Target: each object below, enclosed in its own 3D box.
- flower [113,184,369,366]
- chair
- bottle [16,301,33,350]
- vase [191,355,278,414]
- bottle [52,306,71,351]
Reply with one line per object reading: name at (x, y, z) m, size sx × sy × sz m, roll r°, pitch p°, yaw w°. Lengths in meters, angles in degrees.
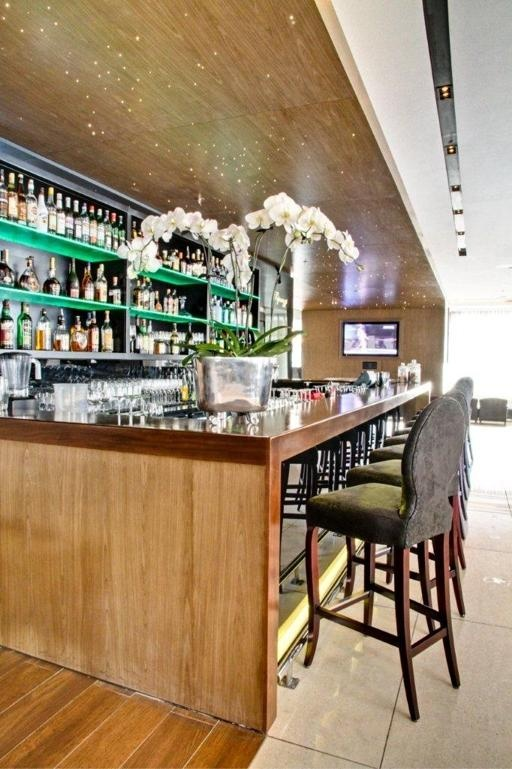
flower at (0.050, -0.390, 1.891) m, size 0.641 × 0.418 × 0.662 m, roll 0°, pitch 28°, yaw 8°
chair at (0.447, 0.522, 1.911) m, size 0.554 × 0.988 × 0.747 m, roll 2°, pitch 1°, yaw 22°
bottle at (-1.360, -0.341, 3.099) m, size 0.069 × 0.280 × 0.235 m, roll 1°, pitch 1°, yaw -25°
vase at (-0.071, 0.010, 1.679) m, size 0.243 × 0.183 × 0.235 m, roll 0°, pitch -4°, yaw -7°
bottle at (-1.252, -0.360, 3.409) m, size 0.102 × 0.272 × 0.336 m, roll 1°, pitch 1°, yaw -20°
